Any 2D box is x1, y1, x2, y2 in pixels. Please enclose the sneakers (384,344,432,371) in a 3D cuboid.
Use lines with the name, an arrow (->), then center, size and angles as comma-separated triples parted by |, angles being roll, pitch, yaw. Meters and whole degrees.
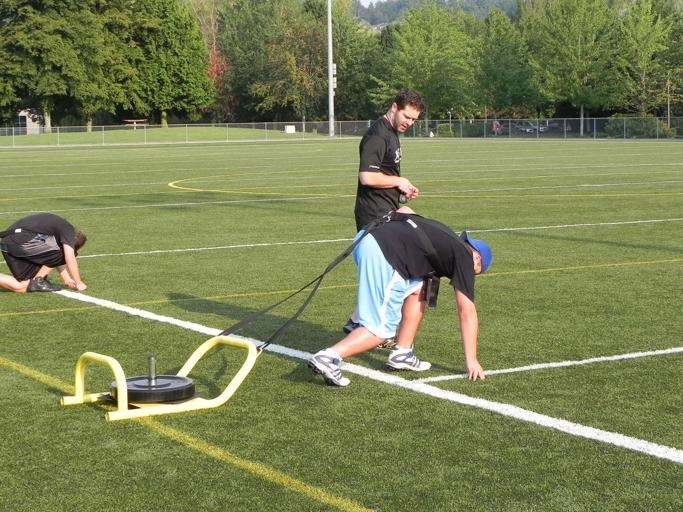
sneakers -> 0.498, 0.801, 5.711 | 0.409, 0.180, 0.143 | 2, 3, -23

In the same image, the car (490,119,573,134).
car -> 16.354, -11.273, 64.296 | 6.441, 1.459, 3.311 | 3, 8, 9

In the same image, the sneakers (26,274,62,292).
sneakers -> -3.386, 0.331, 8.299 | 0.431, 0.185, 0.146 | 0, 5, -11
